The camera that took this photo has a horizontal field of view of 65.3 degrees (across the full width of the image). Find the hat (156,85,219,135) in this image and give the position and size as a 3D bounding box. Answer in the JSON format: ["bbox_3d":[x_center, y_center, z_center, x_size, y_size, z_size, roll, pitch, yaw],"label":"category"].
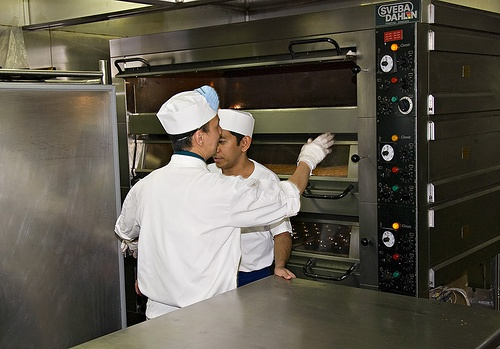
[{"bbox_3d":[-0.253,-0.308,1.678,0.181,0.091,0.248,8,45,41],"label":"hat"}]

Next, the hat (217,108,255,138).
[{"bbox_3d":[-0.082,-0.284,2.203,0.172,0.116,0.132,16,1,-24],"label":"hat"}]
